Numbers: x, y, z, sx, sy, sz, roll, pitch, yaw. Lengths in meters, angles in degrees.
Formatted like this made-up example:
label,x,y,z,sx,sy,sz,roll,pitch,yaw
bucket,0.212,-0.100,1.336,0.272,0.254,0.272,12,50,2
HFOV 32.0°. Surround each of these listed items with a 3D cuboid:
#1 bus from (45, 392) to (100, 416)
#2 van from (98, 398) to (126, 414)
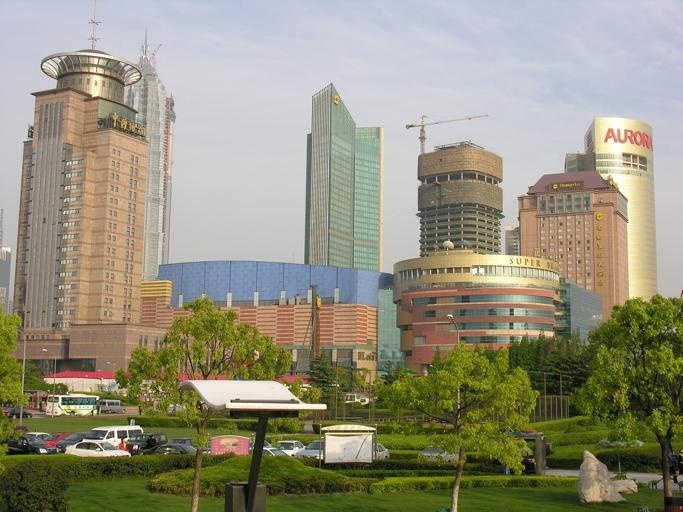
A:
label,x,y,z,sx,sy,sz,roll,pitch,yaw
bus,-38.727,21.642,174.117,8.011,3.019,3.028,2,-2,-39
van,-34.954,22.857,180.760,1.889,2.056,4.582,-4,-11,28
